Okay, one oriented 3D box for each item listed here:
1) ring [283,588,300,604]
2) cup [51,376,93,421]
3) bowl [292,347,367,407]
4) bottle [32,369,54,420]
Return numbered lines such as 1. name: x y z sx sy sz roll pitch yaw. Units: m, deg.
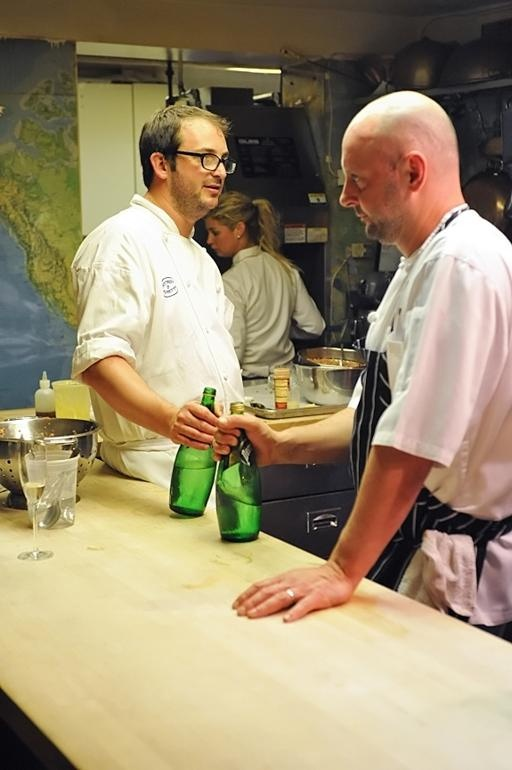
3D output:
1. ring: 0.050 0.300 0.868 0.020 0.019 0.015 -3 34 44
2. cup: -0.553 0.037 1.952 0.172 0.149 0.138 -2 7 -7
3. bowl: 0.312 -0.054 2.865 0.307 0.210 0.322 1 8 0
4. bottle: -0.690 0.030 2.003 0.058 0.140 0.185 -1 4 -19
